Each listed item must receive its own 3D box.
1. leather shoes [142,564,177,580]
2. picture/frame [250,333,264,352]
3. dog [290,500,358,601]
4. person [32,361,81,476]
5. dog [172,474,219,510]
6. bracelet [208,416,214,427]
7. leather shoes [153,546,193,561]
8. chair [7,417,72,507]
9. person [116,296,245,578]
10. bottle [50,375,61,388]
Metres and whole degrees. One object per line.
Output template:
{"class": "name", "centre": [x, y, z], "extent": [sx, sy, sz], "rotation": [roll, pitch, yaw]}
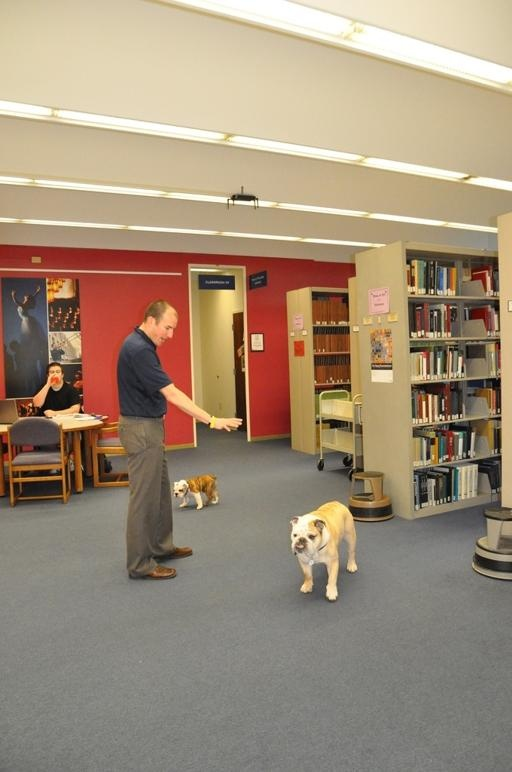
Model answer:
{"class": "leather shoes", "centre": [-0.617, 1.172, 3.598], "extent": [0.158, 0.070, 0.087], "rotation": [-10, 7, 0]}
{"class": "picture/frame", "centre": [0.004, -0.785, 10.104], "extent": [0.312, 0.392, 0.028], "rotation": [-3, 5, -33]}
{"class": "dog", "centre": [0.407, 0.906, 3.292], "extent": [0.235, 0.490, 0.705], "rotation": [0, 7, 26]}
{"class": "person", "centre": [-2.446, 0.096, 6.916], "extent": [0.526, 0.756, 0.690], "rotation": [-10, 23, -34]}
{"class": "dog", "centre": [-0.555, 1.020, 5.522], "extent": [0.553, 0.334, 0.234], "rotation": [-6, -3, -36]}
{"class": "bracelet", "centre": [-0.261, 0.202, 3.272], "extent": [0.033, 0.067, 0.048], "rotation": [1, -5, -3]}
{"class": "leather shoes", "centre": [-0.582, 1.145, 3.956], "extent": [0.244, 0.107, 0.092], "rotation": [-10, 11, -16]}
{"class": "chair", "centre": [-2.303, 0.731, 6.050], "extent": [0.585, 0.639, 1.355], "rotation": [-3, 2, -21]}
{"class": "person", "centre": [-0.594, 0.338, 3.556], "extent": [0.511, 1.744, 0.769], "rotation": [-2, 2, -14]}
{"class": "bottle", "centre": [-2.426, -0.067, 6.851], "extent": [0.108, 0.159, 0.092], "rotation": [8, 24, -7]}
